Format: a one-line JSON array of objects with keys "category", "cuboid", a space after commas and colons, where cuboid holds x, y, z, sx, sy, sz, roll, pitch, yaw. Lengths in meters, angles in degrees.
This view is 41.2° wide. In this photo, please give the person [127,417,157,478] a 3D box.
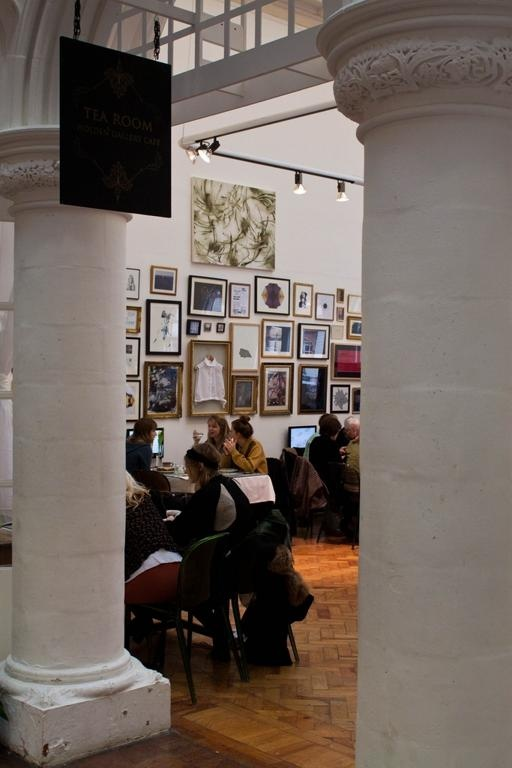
[{"category": "person", "cuboid": [-1.083, 0.643, 6.373, 0.254, 0.819, 0.270, 7, 35, -4]}]

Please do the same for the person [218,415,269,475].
[{"category": "person", "cuboid": [-0.113, 0.787, 7.026, 0.491, 0.890, 0.567, -1, 4, 5]}]

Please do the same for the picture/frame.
[{"category": "picture/frame", "cuboid": [0.114, -0.474, 9.033, 3.652, 1.859, 0.147, 2, -3, -42]}]

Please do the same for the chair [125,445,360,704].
[{"category": "chair", "cuboid": [-0.267, 1.099, 4.399, 1.419, 1.774, 0.844, 2, -1, 38]}]

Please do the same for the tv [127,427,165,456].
[{"category": "tv", "cuboid": [-1.085, 0.564, 6.664, 0.350, 0.362, 0.035, 7, -15, -32]}]
